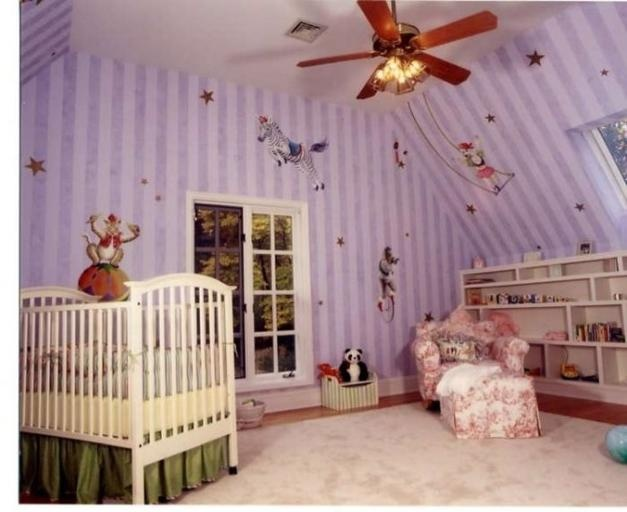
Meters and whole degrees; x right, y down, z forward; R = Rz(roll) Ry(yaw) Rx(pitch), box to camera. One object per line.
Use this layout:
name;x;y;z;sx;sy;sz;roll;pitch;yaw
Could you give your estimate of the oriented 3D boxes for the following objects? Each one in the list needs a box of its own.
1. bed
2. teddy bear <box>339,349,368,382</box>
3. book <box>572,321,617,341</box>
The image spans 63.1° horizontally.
bed;-1.385;0.745;3.816;1.722;1.415;1.138;0;-1;41
teddy bear;0.399;1.097;5.117;0.299;0.329;0.191;0;0;-7
book;2.690;0.726;4.839;0.389;0.212;0.192;-3;-1;28
